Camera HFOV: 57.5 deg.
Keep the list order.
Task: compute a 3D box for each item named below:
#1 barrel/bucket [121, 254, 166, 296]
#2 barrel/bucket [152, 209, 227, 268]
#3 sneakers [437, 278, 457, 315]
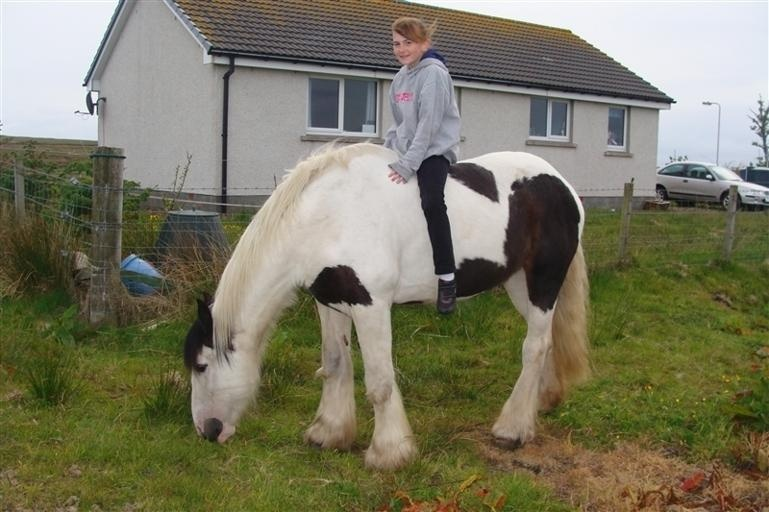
[{"bbox_3d":[-3.118,0.264,8.922,0.578,0.331,0.379,30,36,31],"label":"barrel/bucket"},{"bbox_3d":[-2.550,-0.263,9.454,0.743,0.537,0.739,1,2,0],"label":"barrel/bucket"},{"bbox_3d":[0.591,0.375,6.668,0.122,0.386,0.141,-1,0,7],"label":"sneakers"}]
